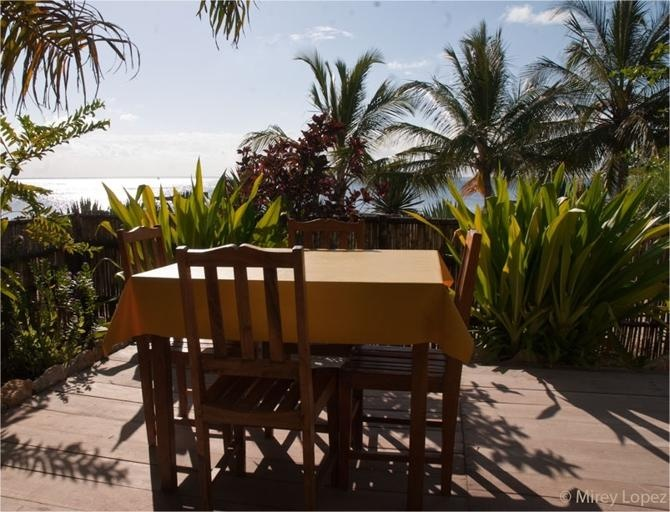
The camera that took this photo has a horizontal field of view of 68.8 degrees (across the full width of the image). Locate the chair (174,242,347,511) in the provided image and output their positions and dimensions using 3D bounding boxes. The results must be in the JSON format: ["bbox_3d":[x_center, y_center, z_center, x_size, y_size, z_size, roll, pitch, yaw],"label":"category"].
[{"bbox_3d":[-0.383,0.629,2.597,0.785,1.426,0.561,1,6,3],"label":"chair"}]
